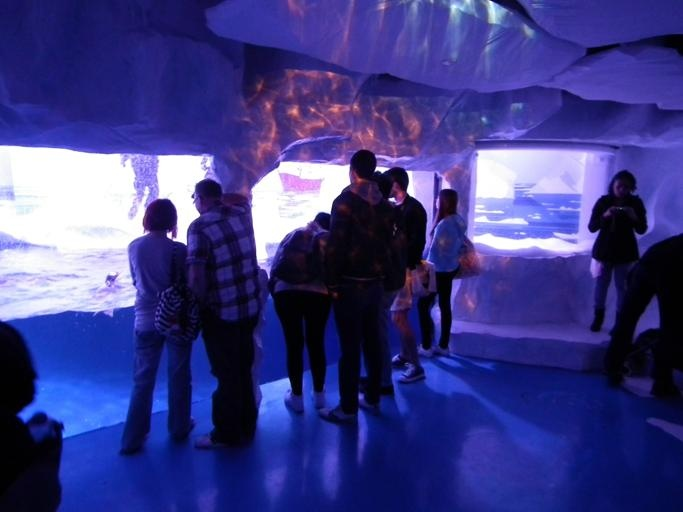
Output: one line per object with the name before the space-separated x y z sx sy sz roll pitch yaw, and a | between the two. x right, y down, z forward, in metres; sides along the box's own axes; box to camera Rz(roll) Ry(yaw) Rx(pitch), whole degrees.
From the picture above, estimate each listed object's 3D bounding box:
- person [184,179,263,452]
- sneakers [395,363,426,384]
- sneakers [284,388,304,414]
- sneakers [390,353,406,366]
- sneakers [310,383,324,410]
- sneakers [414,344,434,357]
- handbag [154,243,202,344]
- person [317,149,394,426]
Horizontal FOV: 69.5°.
person | -0.823 0.513 3.472 0.499 1.709 0.211 -1 9 -17
sneakers | 0.649 1.081 4.543 0.302 0.148 0.114 2 -4 -37
sneakers | -0.386 1.186 4.031 0.085 0.111 0.242 -1 8 -18
sneakers | 0.556 1.023 4.779 0.067 0.088 0.205 8 -10 -32
sneakers | -0.206 1.174 4.007 0.059 0.134 0.186 1 9 -7
sneakers | 0.863 0.985 5.076 0.081 0.093 0.204 -4 7 -20
handbag | -1.122 0.267 3.351 0.303 0.679 0.272 -1 9 -23
person | 0.134 0.336 3.585 0.513 1.746 0.246 -5 11 -41
